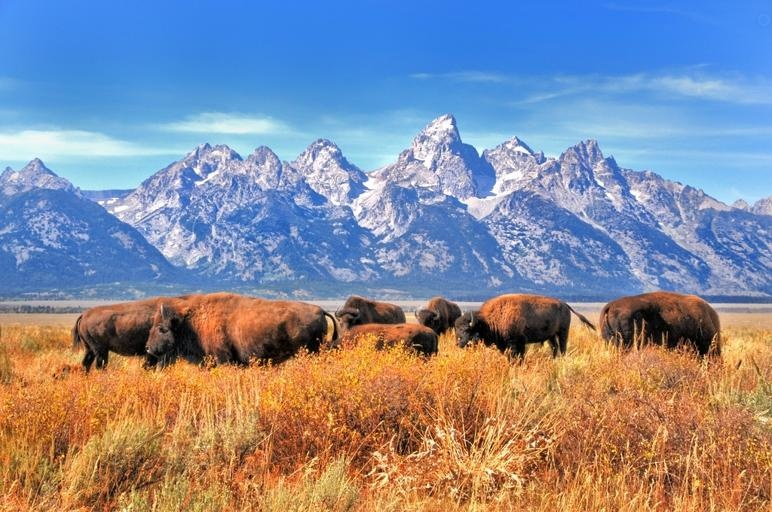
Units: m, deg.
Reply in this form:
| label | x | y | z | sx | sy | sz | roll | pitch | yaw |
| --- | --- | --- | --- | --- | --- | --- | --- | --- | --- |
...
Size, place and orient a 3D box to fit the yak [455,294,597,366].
| label | x | y | z | sx | sy | sz | roll | pitch | yaw |
| --- | --- | --- | --- | --- | --- | --- | --- | --- | --- |
| yak | 5.022 | 2.422 | 34.237 | 5.545 | 2.568 | 1.447 | -3 | 8 | -21 |

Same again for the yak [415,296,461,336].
| label | x | y | z | sx | sy | sz | roll | pitch | yaw |
| --- | --- | --- | --- | --- | --- | --- | --- | --- | --- |
| yak | 1.799 | 2.346 | 39.118 | 0.821 | 1.649 | 3.102 | -7 | -10 | 21 |

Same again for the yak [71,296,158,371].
| label | x | y | z | sx | sy | sz | roll | pitch | yaw |
| --- | --- | --- | --- | --- | --- | --- | --- | --- | --- |
| yak | -7.685 | 2.699 | 30.651 | 3.516 | 2.211 | 0.940 | 2 | 9 | 6 |

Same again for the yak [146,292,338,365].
| label | x | y | z | sx | sy | sz | roll | pitch | yaw |
| --- | --- | --- | --- | --- | --- | --- | --- | --- | --- |
| yak | -4.348 | 2.560 | 28.950 | 5.443 | 3.111 | 1.883 | 1 | 0 | -7 |

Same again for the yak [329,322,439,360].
| label | x | y | z | sx | sy | sz | roll | pitch | yaw |
| --- | --- | --- | --- | --- | --- | --- | --- | --- | --- |
| yak | 0.000 | 2.917 | 29.727 | 3.342 | 1.946 | 0.889 | 0 | 7 | -4 |

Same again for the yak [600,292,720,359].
| label | x | y | z | sx | sy | sz | roll | pitch | yaw |
| --- | --- | --- | --- | --- | --- | --- | --- | --- | --- |
| yak | 8.827 | 2.113 | 31.708 | 2.706 | 2.240 | 4.222 | -1 | -3 | -3 |
